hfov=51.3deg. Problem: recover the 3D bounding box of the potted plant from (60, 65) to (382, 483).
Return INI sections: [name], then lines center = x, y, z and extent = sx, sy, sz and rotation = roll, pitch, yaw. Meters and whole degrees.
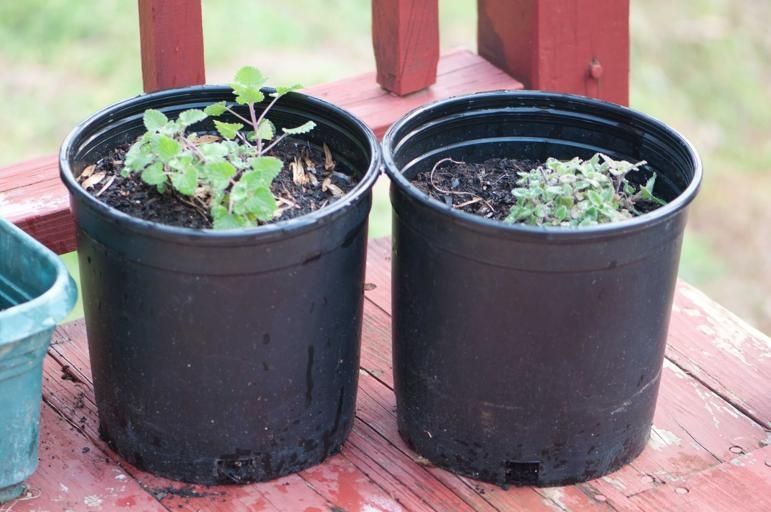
[potted plant]
center = -0.442, 0.052, 2.166
extent = 0.740, 0.803, 0.809
rotation = -1, 32, -10
